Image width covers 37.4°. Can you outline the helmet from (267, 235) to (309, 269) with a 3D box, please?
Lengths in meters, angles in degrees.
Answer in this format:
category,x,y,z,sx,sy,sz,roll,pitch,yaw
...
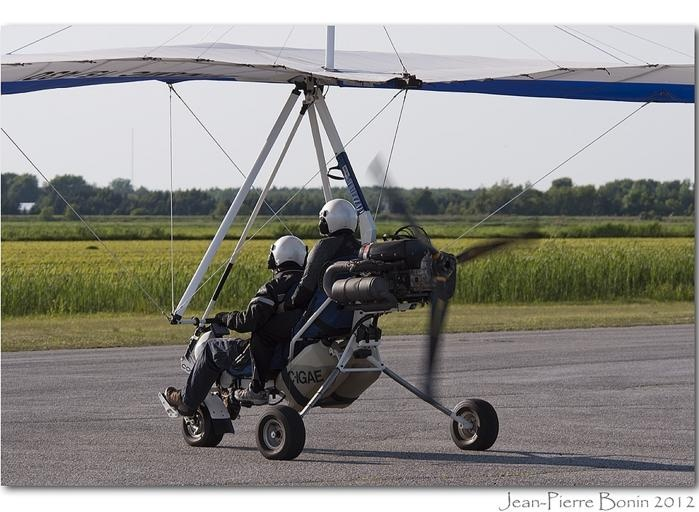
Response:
category,x,y,z,sx,sy,sz,roll,pitch,yaw
helmet,-0.889,0.002,14.109,0.580,0.543,0.478,-2,-16,7

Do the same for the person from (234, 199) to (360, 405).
category,x,y,z,sx,sy,sz,roll,pitch,yaw
person,-0.626,0.625,13.795,1.375,2.712,0.586,5,-1,-3

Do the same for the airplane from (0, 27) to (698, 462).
category,x,y,z,sx,sy,sz,roll,pitch,yaw
airplane,-0.793,0.197,16.228,7.460,5.028,7.450,2,-1,-41

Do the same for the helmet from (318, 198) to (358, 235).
category,x,y,z,sx,sy,sz,roll,pitch,yaw
helmet,-0.172,-0.504,14.031,0.572,0.538,0.475,-6,-12,34
